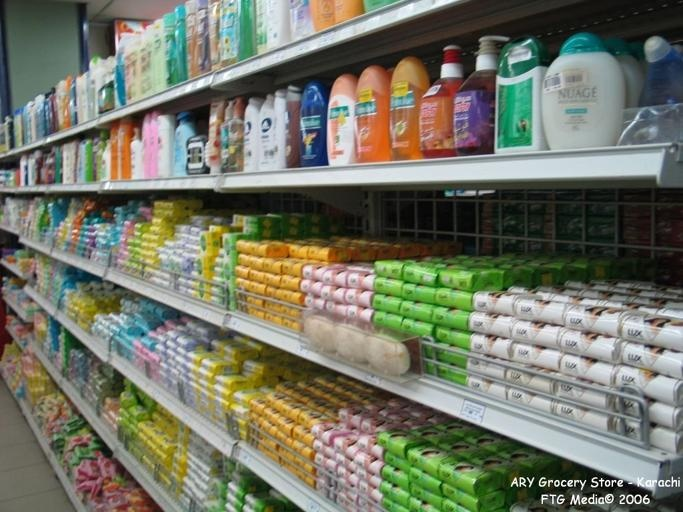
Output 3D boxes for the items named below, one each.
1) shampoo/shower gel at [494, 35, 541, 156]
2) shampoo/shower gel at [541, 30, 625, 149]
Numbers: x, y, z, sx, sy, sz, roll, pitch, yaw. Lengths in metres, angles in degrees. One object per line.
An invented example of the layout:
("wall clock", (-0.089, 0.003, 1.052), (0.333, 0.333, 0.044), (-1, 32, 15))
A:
("shampoo/shower gel", (0.381, -0.342, 0.992), (0.110, 0.236, 0.075), (-2, 11, 27))
("shampoo/shower gel", (0.475, -0.318, 0.889), (0.158, 0.222, 0.129), (-10, 10, -18))
